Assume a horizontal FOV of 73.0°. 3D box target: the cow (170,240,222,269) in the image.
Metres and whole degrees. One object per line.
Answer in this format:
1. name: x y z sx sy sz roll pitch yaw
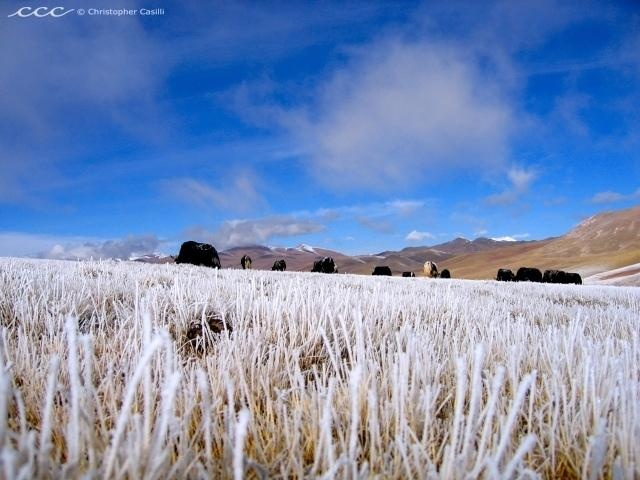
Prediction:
1. cow: -3.950 0.532 13.722 1.086 1.118 0.729 0 -10 -14
